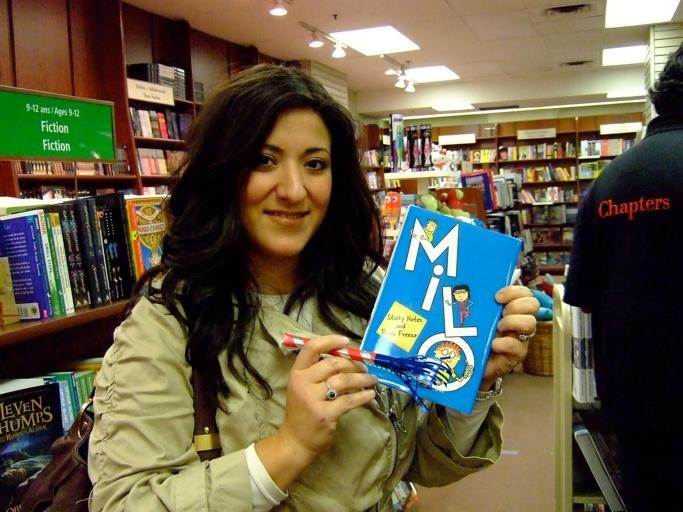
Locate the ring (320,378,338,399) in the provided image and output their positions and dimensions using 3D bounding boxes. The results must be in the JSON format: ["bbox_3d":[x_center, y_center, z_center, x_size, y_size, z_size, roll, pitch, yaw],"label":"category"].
[{"bbox_3d":[-0.027,0.291,1.081,0.015,0.036,0.027,-38,-32,25],"label":"ring"}]

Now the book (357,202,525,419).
[{"bbox_3d":[0.241,0.120,1.202,0.364,0.464,0.207,1,8,14],"label":"book"}]
